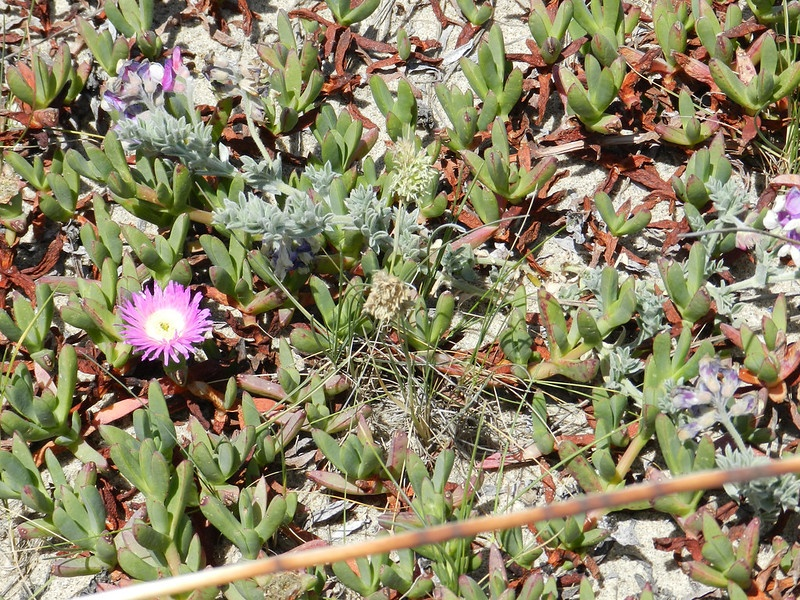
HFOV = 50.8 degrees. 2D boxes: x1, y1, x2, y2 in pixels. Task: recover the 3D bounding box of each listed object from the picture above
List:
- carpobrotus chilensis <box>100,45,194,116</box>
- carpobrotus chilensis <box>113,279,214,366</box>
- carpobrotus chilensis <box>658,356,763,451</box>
[{"bbox_3d":[-0.870,-0.724,2.981,0.267,0.144,0.264,-11,37,38],"label":"carpobrotus chilensis"},{"bbox_3d":[-0.747,0.044,2.675,0.249,0.123,0.268,14,39,4],"label":"carpobrotus chilensis"},{"bbox_3d":[0.938,0.295,2.591,0.228,0.121,0.322,21,72,-5],"label":"carpobrotus chilensis"}]
